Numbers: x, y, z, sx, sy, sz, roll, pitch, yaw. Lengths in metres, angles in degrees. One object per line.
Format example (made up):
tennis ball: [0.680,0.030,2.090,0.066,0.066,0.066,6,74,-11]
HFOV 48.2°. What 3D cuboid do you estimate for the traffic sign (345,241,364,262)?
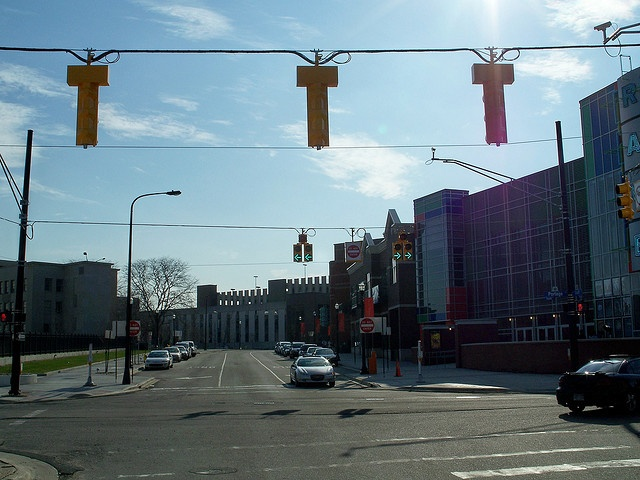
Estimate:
traffic sign: [1.977,0.691,41.600,0.882,1.216,1.279,-1,-11,-2]

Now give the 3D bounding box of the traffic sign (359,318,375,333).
traffic sign: [2.834,5.016,42.274,0.801,0.810,1.152,-2,-11,5]

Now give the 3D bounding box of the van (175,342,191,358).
van: [-13.979,11.309,72.812,1.271,1.191,2.351,0,-21,-6]

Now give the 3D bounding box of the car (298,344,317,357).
car: [-1.090,10.029,65.397,1.322,1.170,2.347,1,-18,-4]

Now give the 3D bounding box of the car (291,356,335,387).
car: [-0.348,6.931,37.412,2.021,1.593,2.194,2,-11,-16]

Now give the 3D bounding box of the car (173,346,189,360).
car: [-13.777,11.316,71.113,1.120,1.022,2.007,0,0,-4]

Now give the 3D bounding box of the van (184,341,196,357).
van: [-14.763,12.386,81.396,1.450,1.418,2.524,0,-19,-9]

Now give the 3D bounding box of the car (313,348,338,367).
car: [0.502,8.699,53.855,1.271,1.061,3.054,-1,-20,3]

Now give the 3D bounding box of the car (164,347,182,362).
car: [-13.112,10.251,64.545,1.199,1.007,2.129,0,-19,1]

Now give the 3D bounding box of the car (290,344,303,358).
car: [-2.489,11.514,74.260,0.990,0.947,1.843,1,-17,-6]
